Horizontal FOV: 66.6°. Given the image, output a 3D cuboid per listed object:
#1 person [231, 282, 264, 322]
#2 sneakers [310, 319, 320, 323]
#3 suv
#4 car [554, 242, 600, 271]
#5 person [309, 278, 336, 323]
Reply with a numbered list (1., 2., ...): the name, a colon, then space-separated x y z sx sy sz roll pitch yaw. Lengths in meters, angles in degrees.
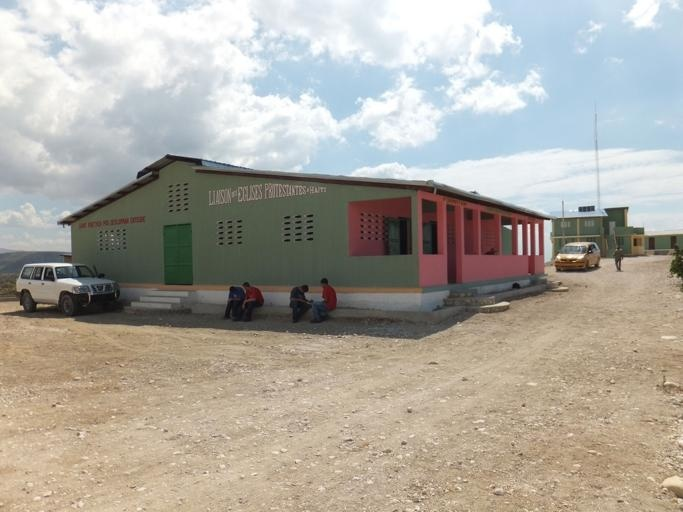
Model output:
1. person: -2.978 1.396 16.578 0.717 1.126 0.846 3 10 29
2. sneakers: -0.759 1.892 15.244 0.305 0.114 0.103 2 0 30
3. suv: -10.274 1.176 19.672 3.559 1.410 1.987 -1 -1 30
4. car: 13.700 -0.017 30.279 1.608 1.193 3.172 -3 -6 34
5. person: -0.502 1.234 15.486 0.793 1.262 0.952 -2 8 -1
